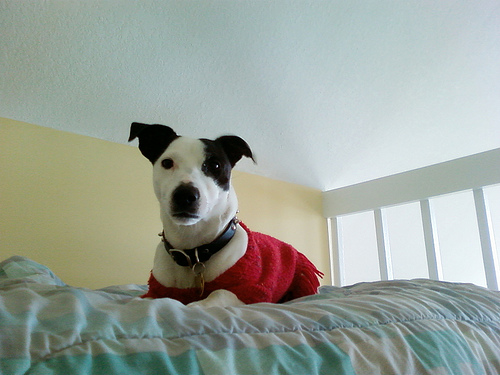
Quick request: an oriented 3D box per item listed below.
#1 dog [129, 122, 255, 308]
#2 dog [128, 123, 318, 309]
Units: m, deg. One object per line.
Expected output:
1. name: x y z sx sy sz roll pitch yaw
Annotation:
1. dog: -0.193 0.152 1.690 0.524 0.690 0.869 1 -11 1
2. dog: -0.121 0.171 1.633 0.642 0.663 0.856 -4 -12 31
